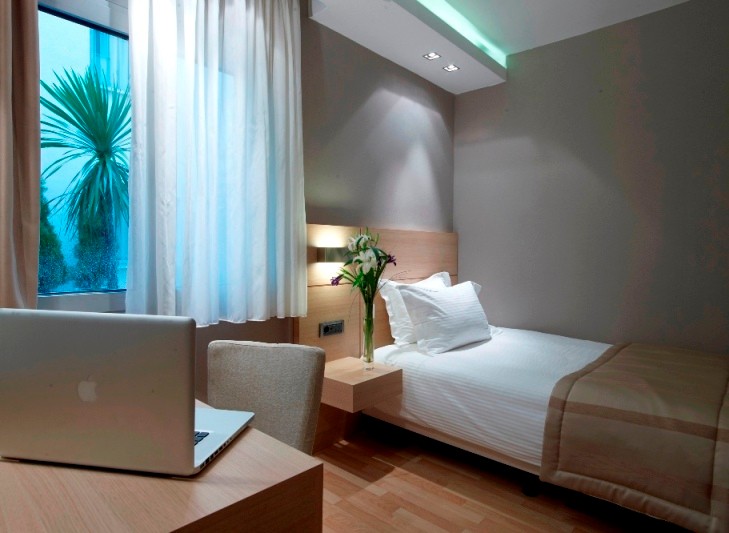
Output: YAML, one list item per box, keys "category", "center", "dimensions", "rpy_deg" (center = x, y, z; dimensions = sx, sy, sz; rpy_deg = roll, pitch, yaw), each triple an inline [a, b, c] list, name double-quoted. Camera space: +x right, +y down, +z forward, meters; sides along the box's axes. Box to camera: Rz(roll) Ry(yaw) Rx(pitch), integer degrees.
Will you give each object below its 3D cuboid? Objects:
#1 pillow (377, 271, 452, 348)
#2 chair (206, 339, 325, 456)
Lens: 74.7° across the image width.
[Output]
- category: "pillow"
  center: [0.342, 0.321, 3.380]
  dimensions: [0.174, 0.443, 0.483]
  rpy_deg: [16, 15, 40]
- category: "chair"
  center: [-0.328, 0.566, 2.066]
  dimensions: [0.399, 0.610, 0.478]
  rpy_deg: [2, -15, 9]
